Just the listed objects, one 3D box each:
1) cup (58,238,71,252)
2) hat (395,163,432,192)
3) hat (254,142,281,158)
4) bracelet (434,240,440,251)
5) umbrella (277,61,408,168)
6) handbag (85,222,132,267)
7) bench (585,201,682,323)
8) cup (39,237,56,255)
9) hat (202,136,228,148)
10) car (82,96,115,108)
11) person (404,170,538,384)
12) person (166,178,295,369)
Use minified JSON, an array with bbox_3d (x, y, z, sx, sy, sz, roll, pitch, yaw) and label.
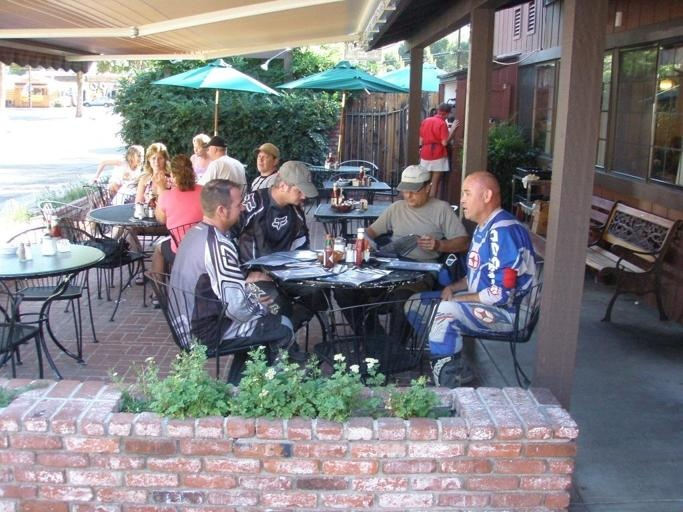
[{"bbox_3d":[-2.482,-0.097,4.819,0.104,0.112,0.132,-6,15,-23],"label":"cup"},{"bbox_3d":[0.690,-0.725,4.932,0.216,0.131,0.305,8,30,31],"label":"hat"},{"bbox_3d":[-0.927,-1.360,7.015,0.242,0.190,0.141,-7,15,-26],"label":"hat"},{"bbox_3d":[0.839,-0.096,4.728,0.037,0.075,0.058,0,-11,8],"label":"bracelet"},{"bbox_3d":[0.069,-2.715,11.218,2.698,1.739,2.570,1,24,2],"label":"umbrella"},{"bbox_3d":[-2.563,-0.136,6.047,0.561,0.535,0.526,0,4,-12],"label":"handbag"},{"bbox_3d":[3.281,0.081,5.980,0.644,0.793,1.410,-1,8,7],"label":"bench"},{"bbox_3d":[-2.580,-0.106,4.751,0.125,0.166,0.211,-8,16,-29],"label":"cup"},{"bbox_3d":[-1.751,-1.565,7.452,0.263,0.125,0.198,21,24,35],"label":"hat"},{"bbox_3d":[-18.725,-11.862,41.511,1.757,0.887,4.526,-7,14,-27],"label":"car"},{"bbox_3d":[0.970,0.279,4.068,0.952,1.771,0.617,-10,18,-34],"label":"person"},{"bbox_3d":[-0.809,0.169,3.846,0.821,1.397,0.561,-5,15,-17],"label":"person"}]
